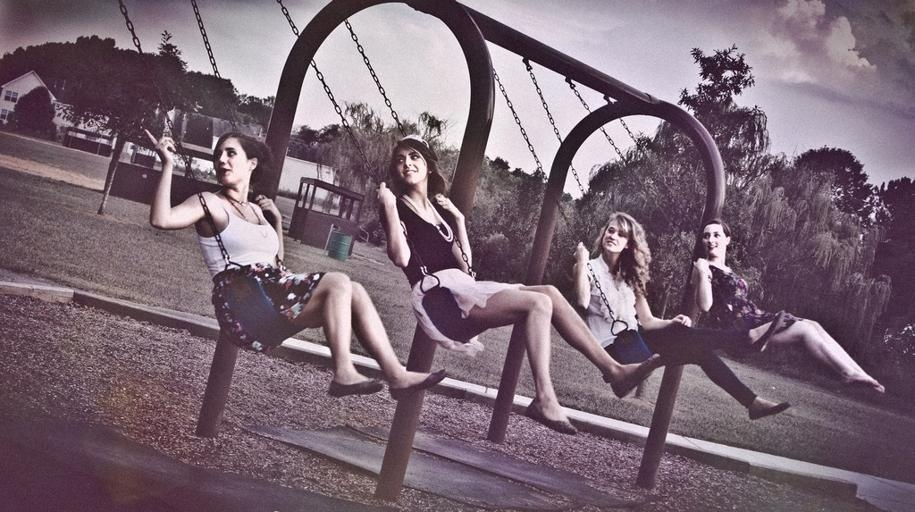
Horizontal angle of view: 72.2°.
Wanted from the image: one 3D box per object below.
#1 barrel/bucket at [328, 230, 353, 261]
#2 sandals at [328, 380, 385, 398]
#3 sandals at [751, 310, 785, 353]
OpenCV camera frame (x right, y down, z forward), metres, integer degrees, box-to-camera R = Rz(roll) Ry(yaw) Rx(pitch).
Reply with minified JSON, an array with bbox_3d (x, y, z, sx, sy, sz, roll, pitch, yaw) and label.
[{"bbox_3d":[-2.003,-0.150,10.894,0.455,0.460,0.464,5,-14,1],"label":"barrel/bucket"},{"bbox_3d":[-1.054,1.514,7.011,0.717,0.234,0.245,-4,0,0],"label":"sandals"},{"bbox_3d":[4.448,1.089,8.973,0.227,0.688,0.251,44,-16,-19],"label":"sandals"}]
